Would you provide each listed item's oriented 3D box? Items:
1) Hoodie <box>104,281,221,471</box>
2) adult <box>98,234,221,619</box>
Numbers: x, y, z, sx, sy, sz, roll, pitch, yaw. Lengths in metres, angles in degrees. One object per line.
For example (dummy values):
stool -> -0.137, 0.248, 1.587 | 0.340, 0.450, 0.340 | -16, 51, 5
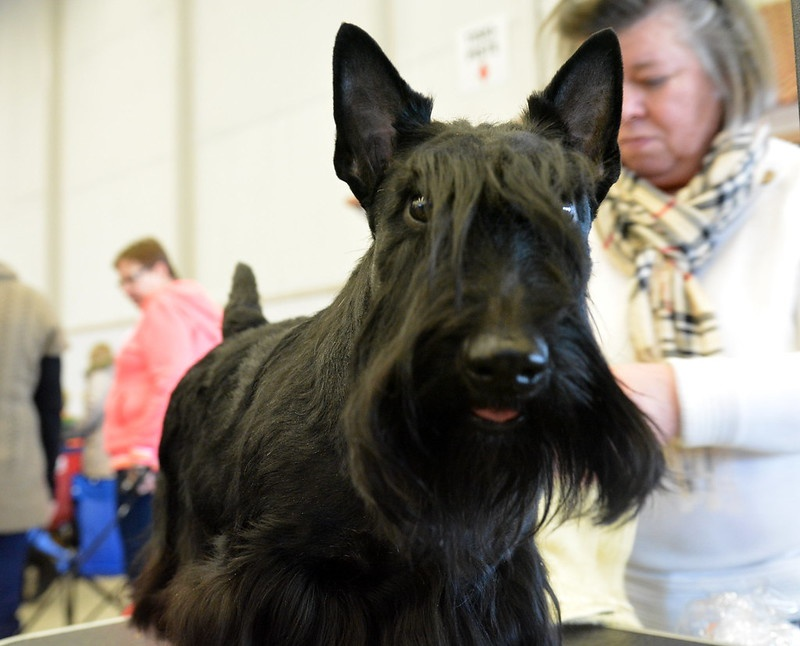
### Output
Hoodie -> -0.918, 0.188, 3.977 | 0.367, 0.750, 0.693 | 2, 0, -8
adult -> -0.977, 0.412, 4.003 | 0.422, 1.509, 0.525 | 10, 13, -1
